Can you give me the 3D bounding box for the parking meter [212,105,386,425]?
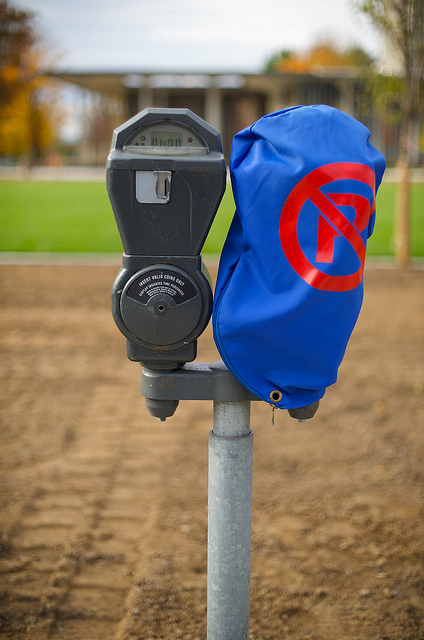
[{"bbox_3d":[0.175,-0.129,1.300,0.327,0.591,0.253,3,14,8],"label":"parking meter"}]
